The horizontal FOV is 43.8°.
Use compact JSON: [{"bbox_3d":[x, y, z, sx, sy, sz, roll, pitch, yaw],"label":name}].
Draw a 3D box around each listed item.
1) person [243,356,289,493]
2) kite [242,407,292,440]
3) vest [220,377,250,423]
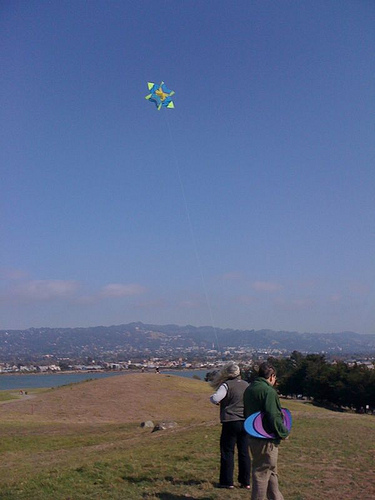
[{"bbox_3d":[1.227,2.788,7.315,0.681,1.961,0.482,-4,-14,17],"label":"person"},{"bbox_3d":[1.312,2.727,7.384,0.757,0.437,0.187,7,2,-13],"label":"kite"},{"bbox_3d":[0.926,3.011,9.439,0.533,0.847,0.463,-1,-13,5],"label":"vest"}]
